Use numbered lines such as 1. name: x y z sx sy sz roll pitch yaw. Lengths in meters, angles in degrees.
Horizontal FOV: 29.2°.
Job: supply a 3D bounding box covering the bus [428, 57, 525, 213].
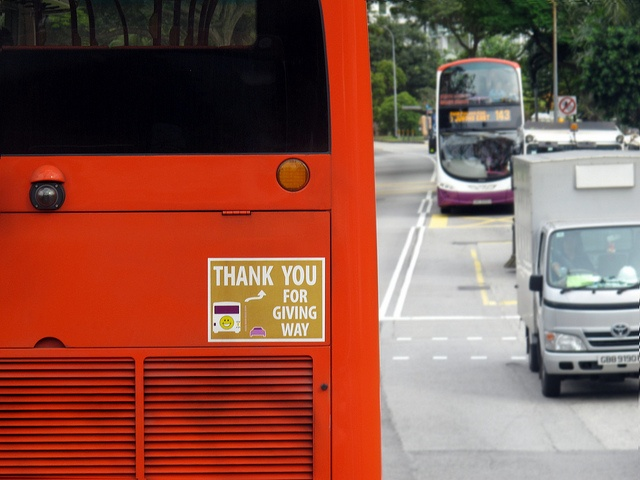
1. bus: 4.706 -3.161 37.010 2.771 4.573 2.000 0 12 13
